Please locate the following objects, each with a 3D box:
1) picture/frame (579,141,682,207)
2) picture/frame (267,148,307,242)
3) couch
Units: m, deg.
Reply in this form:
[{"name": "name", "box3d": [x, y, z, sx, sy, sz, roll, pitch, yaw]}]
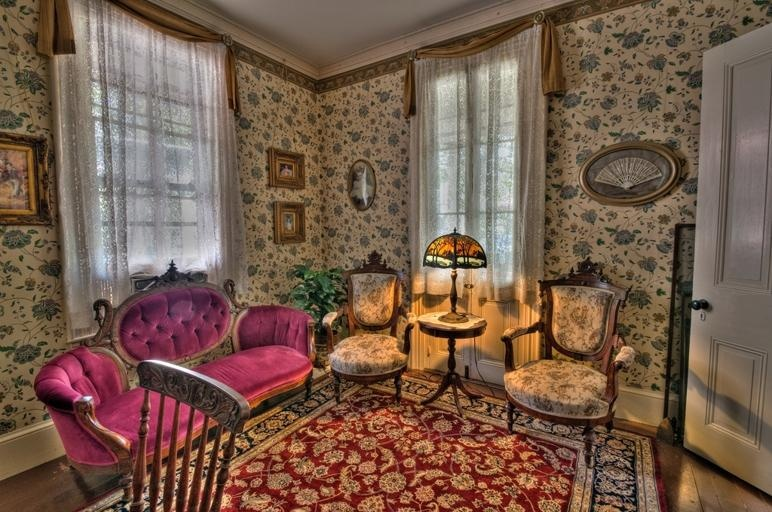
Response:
[{"name": "picture/frame", "box3d": [2.233, -0.728, 4.545, 0.611, 0.537, 0.044, -4, -10, 23]}, {"name": "picture/frame", "box3d": [-1.112, -0.661, 5.776, 0.121, 1.045, 0.506, 1, 6, 32]}, {"name": "couch", "box3d": [-1.757, 1.037, 4.066, 0.702, 1.096, 1.724, 10, 14, 30]}]
